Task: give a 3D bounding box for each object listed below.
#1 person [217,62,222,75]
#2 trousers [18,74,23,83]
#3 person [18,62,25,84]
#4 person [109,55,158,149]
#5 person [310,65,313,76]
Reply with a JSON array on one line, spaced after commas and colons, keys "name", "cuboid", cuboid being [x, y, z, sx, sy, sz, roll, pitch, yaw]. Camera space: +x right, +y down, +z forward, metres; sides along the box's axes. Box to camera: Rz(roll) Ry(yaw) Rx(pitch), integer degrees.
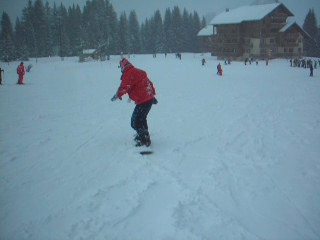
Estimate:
[{"name": "person", "cuboid": [6.102, -5.117, 29.969, 0.438, 1.093, 1.002, 4, 16, 12]}, {"name": "trousers", "cuboid": [-11.033, -3.258, 23.165, 0.522, 0.753, 0.342, 13, 19, 39]}, {"name": "person", "cuboid": [-10.908, -3.730, 23.149, 0.518, 1.771, 1.607, -6, 17, -25]}, {"name": "person", "cuboid": [-0.647, -0.410, 8.304, 1.037, 2.493, 0.851, -1, 13, -5]}, {"name": "person", "cuboid": [14.872, -4.769, 28.783, 0.255, 0.986, 0.814, 7, 17, 27]}]
